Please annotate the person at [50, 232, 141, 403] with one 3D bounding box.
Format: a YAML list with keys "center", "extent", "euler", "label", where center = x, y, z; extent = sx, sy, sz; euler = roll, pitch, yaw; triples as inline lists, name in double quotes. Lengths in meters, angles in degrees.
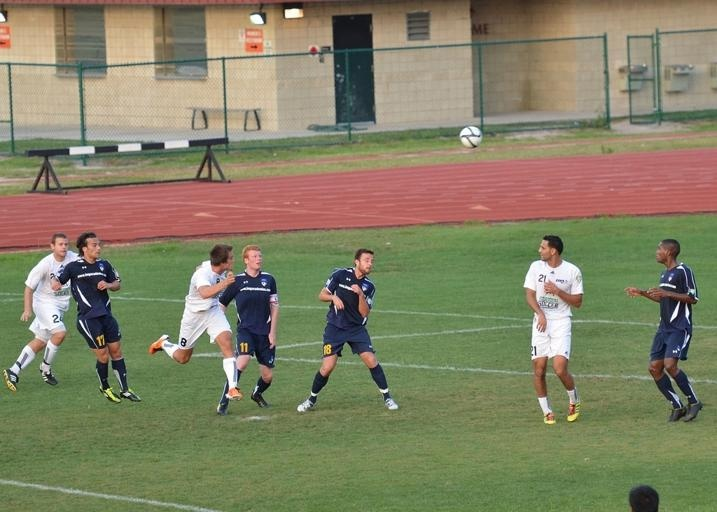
- center: [-4.630, 1.039, 31.453]
  extent: [1.409, 2.971, 0.745]
  euler: [5, 12, 39]
  label: "person"

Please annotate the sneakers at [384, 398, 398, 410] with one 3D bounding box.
- center: [0.618, 2.530, 30.829]
  extent: [0.263, 0.202, 0.213]
  euler: [-6, 9, -23]
  label: "sneakers"

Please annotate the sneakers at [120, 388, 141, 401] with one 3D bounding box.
- center: [-4.047, 2.419, 31.241]
  extent: [0.450, 0.172, 0.152]
  euler: [12, 24, 12]
  label: "sneakers"

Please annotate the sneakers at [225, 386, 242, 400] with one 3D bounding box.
- center: [-2.163, 2.352, 30.710]
  extent: [0.268, 0.247, 0.236]
  euler: [-3, 8, -5]
  label: "sneakers"

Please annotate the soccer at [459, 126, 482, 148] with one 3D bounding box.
- center: [3.371, -3.585, 52.327]
  extent: [0.555, 0.565, 0.510]
  euler: [0, 9, 16]
  label: "soccer"

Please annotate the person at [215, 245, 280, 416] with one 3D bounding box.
- center: [-1.850, 1.199, 31.078]
  extent: [0.885, 2.804, 0.655]
  euler: [-3, 9, -4]
  label: "person"

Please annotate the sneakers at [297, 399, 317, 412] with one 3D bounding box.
- center: [-0.896, 2.532, 30.886]
  extent: [0.351, 0.262, 0.291]
  euler: [-3, 8, -7]
  label: "sneakers"

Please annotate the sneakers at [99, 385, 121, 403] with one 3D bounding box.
- center: [-4.408, 2.422, 31.354]
  extent: [0.482, 0.176, 0.178]
  euler: [31, 40, 25]
  label: "sneakers"

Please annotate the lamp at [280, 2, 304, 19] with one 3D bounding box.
- center: [-2.040, -7.972, 57.077]
  extent: [0.768, 0.516, 0.469]
  euler: [-6, 9, -23]
  label: "lamp"

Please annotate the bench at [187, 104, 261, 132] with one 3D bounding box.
- center: [-4.427, -4.596, 58.185]
  extent: [2.673, 0.828, 0.917]
  euler: [5, 11, 41]
  label: "bench"

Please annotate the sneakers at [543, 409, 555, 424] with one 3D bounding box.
- center: [3.285, 2.737, 30.165]
  extent: [0.129, 0.113, 0.272]
  euler: [0, 10, 1]
  label: "sneakers"

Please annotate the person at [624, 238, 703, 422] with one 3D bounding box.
- center: [5.409, 1.222, 30.170]
  extent: [0.755, 3.041, 0.983]
  euler: [-10, 12, -39]
  label: "person"

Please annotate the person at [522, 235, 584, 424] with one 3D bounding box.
- center: [3.387, 1.203, 30.322]
  extent: [0.956, 3.174, 0.915]
  euler: [-2, 9, 5]
  label: "person"

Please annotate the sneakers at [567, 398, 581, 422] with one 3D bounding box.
- center: [3.700, 2.613, 30.223]
  extent: [0.168, 0.179, 0.422]
  euler: [-1, 24, 13]
  label: "sneakers"

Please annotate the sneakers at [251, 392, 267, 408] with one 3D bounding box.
- center: [-1.754, 2.499, 31.108]
  extent: [0.308, 0.125, 0.100]
  euler: [34, 44, -4]
  label: "sneakers"
